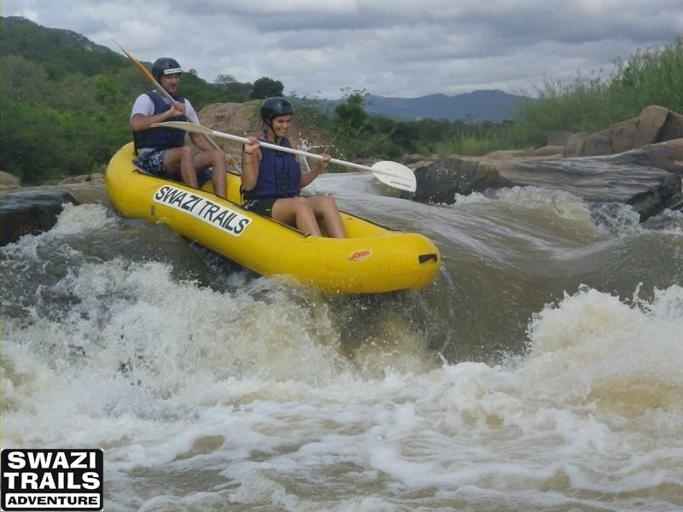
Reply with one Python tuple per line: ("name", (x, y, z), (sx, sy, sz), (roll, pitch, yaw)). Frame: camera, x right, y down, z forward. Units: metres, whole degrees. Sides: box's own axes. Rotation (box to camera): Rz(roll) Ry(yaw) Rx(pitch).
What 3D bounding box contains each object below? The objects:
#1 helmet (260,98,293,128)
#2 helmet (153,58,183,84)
("helmet", (-0.684, -1.437, 7.732), (0.327, 0.256, 0.246), (-21, 21, -21))
("helmet", (-1.912, -2.013, 8.370), (0.324, 0.237, 0.170), (-3, 14, -1))
